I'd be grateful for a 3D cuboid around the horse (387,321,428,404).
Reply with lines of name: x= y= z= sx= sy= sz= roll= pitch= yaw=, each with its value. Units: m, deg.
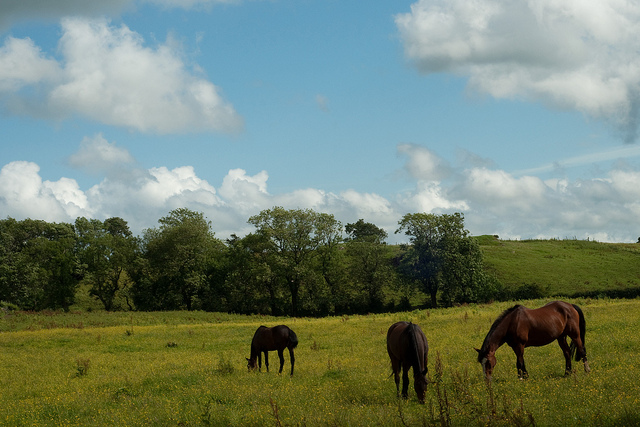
horse: x=8.361 y=13.974 z=68.806 sx=3.689 sy=7.328 sz=1.570 roll=-10 pitch=-10 yaw=42
